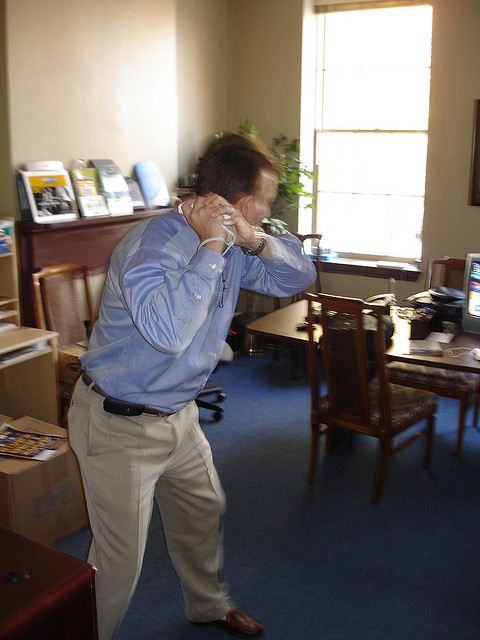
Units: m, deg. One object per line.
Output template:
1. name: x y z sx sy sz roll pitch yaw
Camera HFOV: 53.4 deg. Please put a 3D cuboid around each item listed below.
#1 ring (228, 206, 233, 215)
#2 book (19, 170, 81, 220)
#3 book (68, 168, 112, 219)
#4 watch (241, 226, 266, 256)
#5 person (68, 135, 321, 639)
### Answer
1. ring: -0.021 -0.244 1.051 0.005 0.016 0.017 3 15 10
2. book: -1.228 -0.825 3.115 0.035 0.315 0.373 -8 11 31
3. book: -1.065 -0.882 3.333 0.037 0.355 0.310 -8 22 29
4. watch: 0.022 -0.205 1.292 0.025 0.077 0.077 7 -30 -27
5. person: -0.124 0.347 1.356 0.476 1.660 0.667 14 20 40
